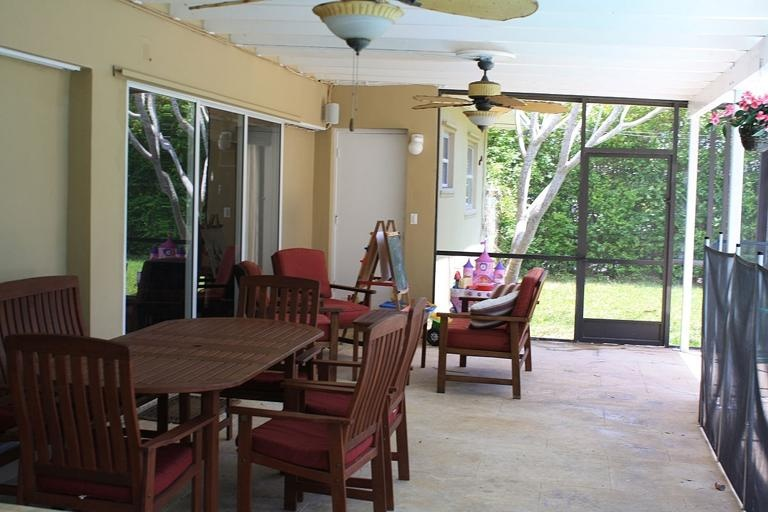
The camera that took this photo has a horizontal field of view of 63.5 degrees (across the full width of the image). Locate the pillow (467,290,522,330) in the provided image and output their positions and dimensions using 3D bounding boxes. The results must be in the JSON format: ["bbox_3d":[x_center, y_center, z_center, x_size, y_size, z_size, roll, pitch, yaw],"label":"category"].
[{"bbox_3d":[1.132,0.552,6.370,0.458,0.438,0.184,3,10,5],"label":"pillow"}]

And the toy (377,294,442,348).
[{"bbox_3d":[0.419,0.833,7.911,0.724,0.898,0.648,-1,-5,18],"label":"toy"}]

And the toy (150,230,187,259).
[{"bbox_3d":[-2.150,-0.109,6.222,0.239,0.379,0.288,4,1,24],"label":"toy"}]

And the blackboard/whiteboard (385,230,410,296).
[{"bbox_3d":[0.177,0.080,7.825,0.098,0.826,0.813,-14,10,16],"label":"blackboard/whiteboard"}]

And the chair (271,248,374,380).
[{"bbox_3d":[-0.735,0.605,7.130,0.984,1.299,1.090,11,5,34],"label":"chair"}]

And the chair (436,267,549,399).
[{"bbox_3d":[1.139,0.754,6.624,1.010,1.281,0.947,4,9,13],"label":"chair"}]

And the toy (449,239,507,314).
[{"bbox_3d":[1.428,0.319,8.691,1.098,0.821,0.962,-1,6,-21],"label":"toy"}]

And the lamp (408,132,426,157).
[{"bbox_3d":[0.450,-1.573,8.680,0.224,0.278,0.151,3,5,11],"label":"lamp"}]

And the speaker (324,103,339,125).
[{"bbox_3d":[-0.732,-2.005,8.776,0.227,0.286,0.249,1,9,-5],"label":"speaker"}]

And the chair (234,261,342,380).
[{"bbox_3d":[-0.839,0.561,5.630,1.122,1.064,0.967,5,8,1],"label":"chair"}]

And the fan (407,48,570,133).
[{"bbox_3d":[0.980,-1.716,6.517,1.435,0.619,1.356,5,13,16],"label":"fan"}]
